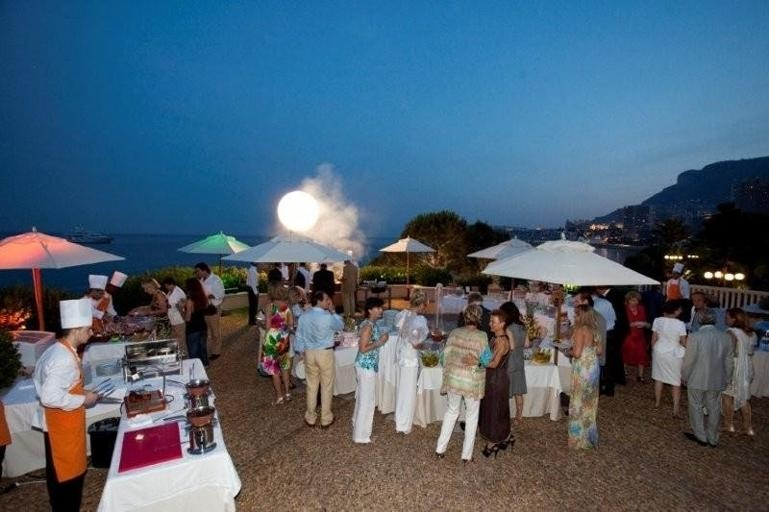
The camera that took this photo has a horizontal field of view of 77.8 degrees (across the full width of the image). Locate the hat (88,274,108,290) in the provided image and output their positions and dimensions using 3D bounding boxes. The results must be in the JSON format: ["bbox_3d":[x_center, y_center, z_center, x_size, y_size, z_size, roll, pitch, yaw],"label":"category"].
[{"bbox_3d":[-6.209,0.578,10.306,0.375,0.326,0.353,5,-4,-36],"label":"hat"}]

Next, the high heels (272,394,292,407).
[{"bbox_3d":[-2.135,3.023,9.868,0.133,0.190,0.417,-3,-11,29],"label":"high heels"}]

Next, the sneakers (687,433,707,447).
[{"bbox_3d":[5.764,3.418,8.833,0.329,0.146,0.111,33,32,34],"label":"sneakers"}]

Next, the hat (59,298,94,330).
[{"bbox_3d":[-4.586,0.852,7.246,0.459,0.515,0.476,-1,4,-5],"label":"hat"}]

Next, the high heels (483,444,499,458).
[{"bbox_3d":[1.867,3.476,8.449,0.254,0.217,0.156,8,-4,0],"label":"high heels"}]

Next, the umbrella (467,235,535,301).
[{"bbox_3d":[3.517,0.500,13.915,1.731,1.370,1.654,-17,11,-35],"label":"umbrella"}]

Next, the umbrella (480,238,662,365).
[{"bbox_3d":[3.361,1.013,9.176,2.173,1.696,2.324,-1,8,-14],"label":"umbrella"}]

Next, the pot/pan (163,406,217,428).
[{"bbox_3d":[-2.868,2.384,7.019,0.619,0.195,0.412,-5,-9,-21],"label":"pot/pan"}]

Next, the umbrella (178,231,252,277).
[{"bbox_3d":[-4.776,-0.250,13.719,1.625,0.931,1.691,0,1,5],"label":"umbrella"}]

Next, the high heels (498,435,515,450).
[{"bbox_3d":[2.152,3.384,8.551,0.460,0.220,0.165,0,-9,-45],"label":"high heels"}]

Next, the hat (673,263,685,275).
[{"bbox_3d":[8.938,0.397,14.507,0.280,0.316,0.334,15,-11,39],"label":"hat"}]
